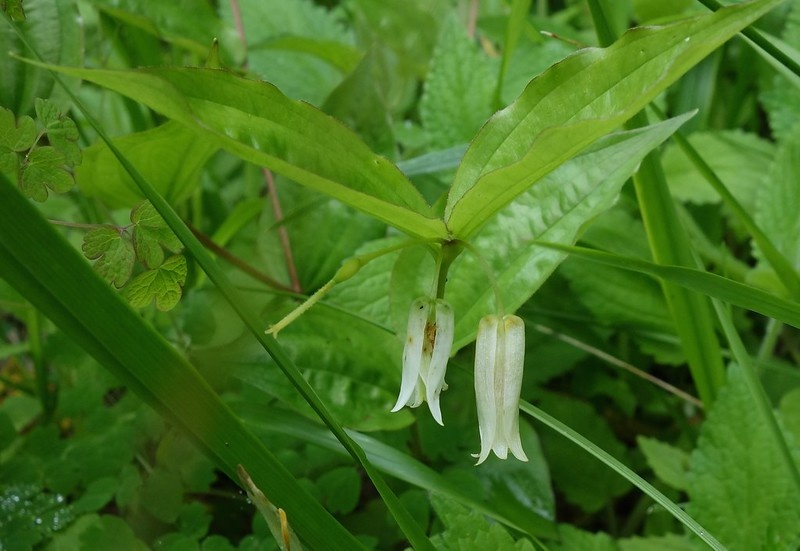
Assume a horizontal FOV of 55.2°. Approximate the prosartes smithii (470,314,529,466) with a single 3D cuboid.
[{"bbox_3d":[0.099,0.094,0.759,0.048,0.134,0.130,-1,15,10],"label":"prosartes smithii"}]
